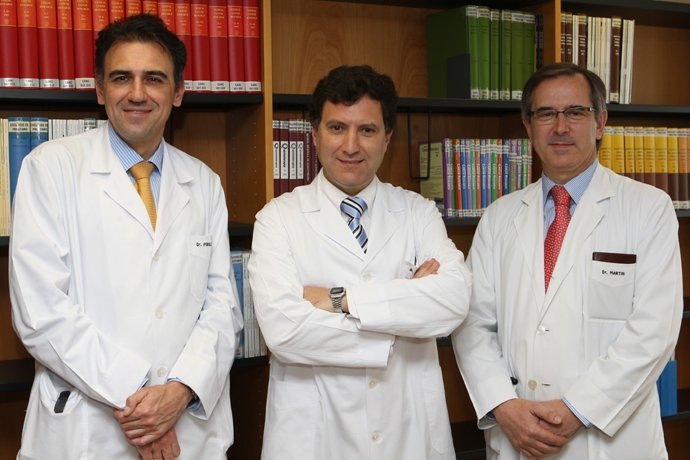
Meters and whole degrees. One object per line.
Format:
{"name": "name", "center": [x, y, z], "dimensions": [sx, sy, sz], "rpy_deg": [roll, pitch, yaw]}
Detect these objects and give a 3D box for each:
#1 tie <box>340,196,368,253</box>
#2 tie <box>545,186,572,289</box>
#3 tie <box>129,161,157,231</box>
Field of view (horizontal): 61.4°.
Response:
{"name": "tie", "center": [0.038, -0.039, 2.263], "dimensions": [0.084, 0.234, 0.058], "rpy_deg": [-4, -18, -11]}
{"name": "tie", "center": [0.863, 0.011, 2.374], "dimensions": [0.083, 0.551, 0.078], "rpy_deg": [-3, -26, 26]}
{"name": "tie", "center": [-0.772, -0.128, 2.220], "dimensions": [0.126, 0.256, 0.066], "rpy_deg": [2, -13, -33]}
